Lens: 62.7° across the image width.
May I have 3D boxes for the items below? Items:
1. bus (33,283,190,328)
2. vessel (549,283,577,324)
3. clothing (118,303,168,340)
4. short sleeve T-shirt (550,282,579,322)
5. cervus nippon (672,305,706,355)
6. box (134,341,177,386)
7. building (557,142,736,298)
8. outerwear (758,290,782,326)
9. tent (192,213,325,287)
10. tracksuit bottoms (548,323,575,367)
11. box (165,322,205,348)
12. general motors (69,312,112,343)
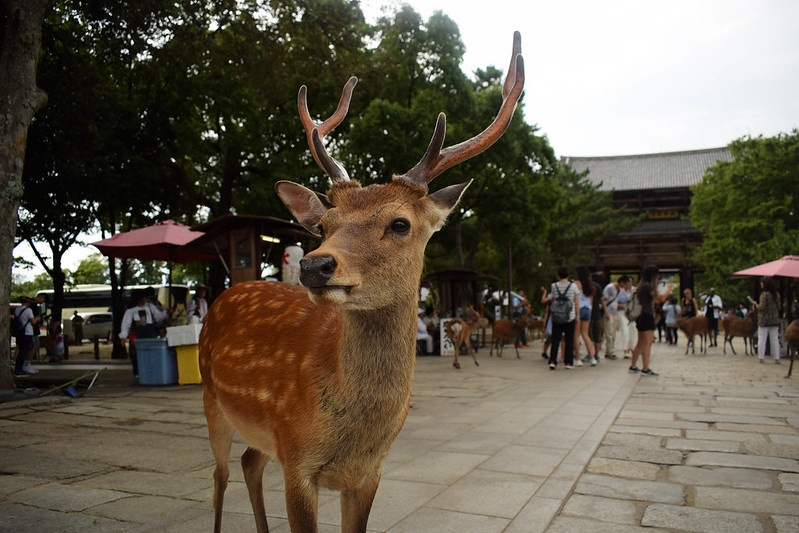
[{"bbox_3d":[-11.589,1.562,25.742,7.055,2.225,2.172,1,-7,12],"label":"bus"},{"bbox_3d":[3.576,0.794,14.285,0.558,0.913,0.519,-3,-4,7],"label":"vessel"},{"bbox_3d":[-5.413,1.156,13.869,0.997,0.796,0.411,-1,-11,-40],"label":"clothing"},{"bbox_3d":[3.585,0.784,14.233,0.602,0.824,0.475,6,-33,23],"label":"short sleeve T-shirt"},{"bbox_3d":[8.875,2.044,19.820,0.817,1.052,2.113,-4,-5,24],"label":"cervus nippon"},{"bbox_3d":[-4.704,1.885,13.224,1.053,1.064,0.788,-1,-7,-5],"label":"box"},{"bbox_3d":[19.163,-4.137,51.276,9.852,9.574,9.709,0,3,28],"label":"building"},{"bbox_3d":[8.597,1.001,15.297,0.397,0.845,0.629,-4,-4,28],"label":"outerwear"},{"bbox_3d":[-3.313,-0.456,14.971,2.511,1.779,2.511,-8,-15,37],"label":"tent"},{"bbox_3d":[3.626,1.622,14.563,0.550,1.272,0.371,1,-2,25],"label":"tracksuit bottoms"},{"bbox_3d":[-3.892,1.259,11.873,0.841,0.548,0.850,-1,0,-14],"label":"box"},{"bbox_3d":[-15.829,3.168,33.586,2.589,1.369,1.571,4,-9,-20],"label":"general motors"}]
